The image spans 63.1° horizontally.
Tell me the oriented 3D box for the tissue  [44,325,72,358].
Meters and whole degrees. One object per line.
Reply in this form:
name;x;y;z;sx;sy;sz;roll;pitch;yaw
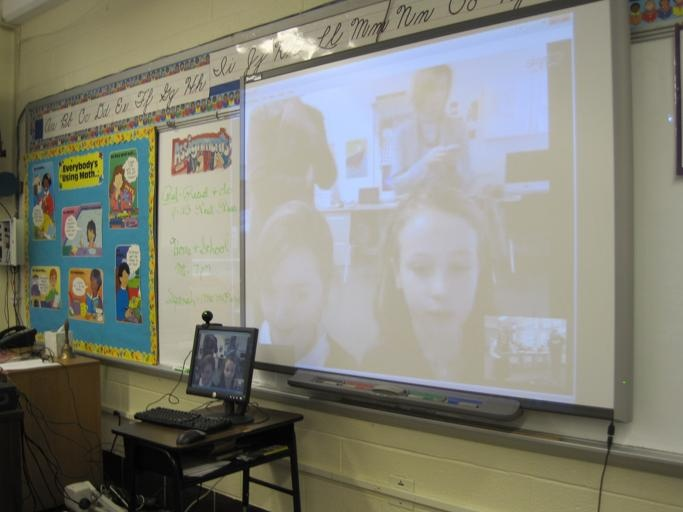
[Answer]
tissue ;-1.902;0.586;3.745;0.192;0.199;0.108;-3;-4;37

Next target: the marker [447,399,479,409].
marker;0.543;0.662;2.500;0.127;0.024;0.031;-3;16;25

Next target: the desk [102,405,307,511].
desk;-0.631;0.878;2.714;0.576;0.661;0.761;0;0;38

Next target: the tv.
tv;-0.586;0.593;2.804;0.501;0.559;0.298;-3;-5;35

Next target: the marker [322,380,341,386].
marker;-0.052;0.631;2.814;0.107;0.029;0.025;6;-1;44
